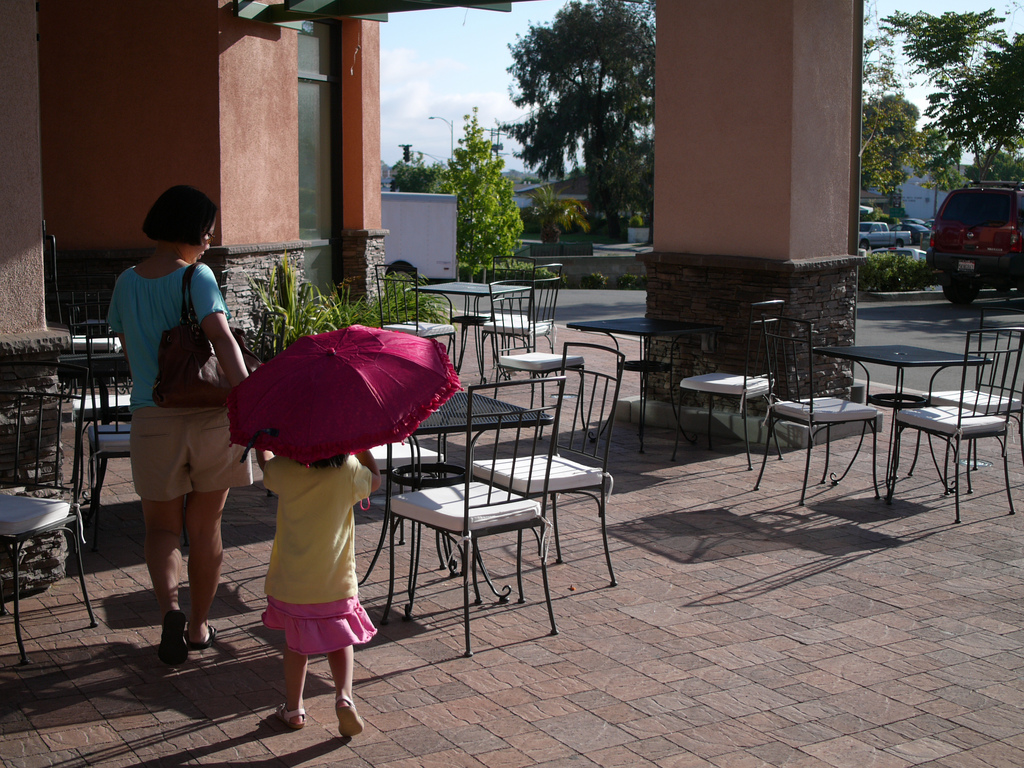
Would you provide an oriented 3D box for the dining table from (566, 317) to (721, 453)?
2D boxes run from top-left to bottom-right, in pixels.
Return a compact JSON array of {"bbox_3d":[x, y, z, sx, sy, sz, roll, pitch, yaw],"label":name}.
[{"bbox_3d":[1.287,0.009,9.207,1.301,1.268,1.299,-8,15,-32],"label":"dining table"}]

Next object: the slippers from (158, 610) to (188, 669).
[{"bbox_3d":[-1.632,1.213,4.532,0.121,0.278,0.105,0,6,0],"label":"slippers"}]

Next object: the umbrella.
[{"bbox_3d":[-0.695,0.037,3.945,0.937,0.475,0.522,-3,12,-18],"label":"umbrella"}]

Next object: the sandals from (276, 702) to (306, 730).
[{"bbox_3d":[-0.987,1.480,4.237,0.067,0.066,0.149,2,8,-23],"label":"sandals"}]

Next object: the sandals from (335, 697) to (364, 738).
[{"bbox_3d":[-0.707,1.451,4.115,0.089,0.199,0.082,-10,40,0],"label":"sandals"}]

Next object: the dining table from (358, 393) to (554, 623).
[{"bbox_3d":[-0.337,0.584,5.580,1.191,1.155,1.186,-5,9,-35],"label":"dining table"}]

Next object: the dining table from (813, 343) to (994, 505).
[{"bbox_3d":[3.119,0.181,7.845,1.192,1.216,1.200,-6,12,-24],"label":"dining table"}]

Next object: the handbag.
[{"bbox_3d":[-1.454,-0.078,4.442,0.357,0.345,0.159,-9,-1,-33],"label":"handbag"}]
